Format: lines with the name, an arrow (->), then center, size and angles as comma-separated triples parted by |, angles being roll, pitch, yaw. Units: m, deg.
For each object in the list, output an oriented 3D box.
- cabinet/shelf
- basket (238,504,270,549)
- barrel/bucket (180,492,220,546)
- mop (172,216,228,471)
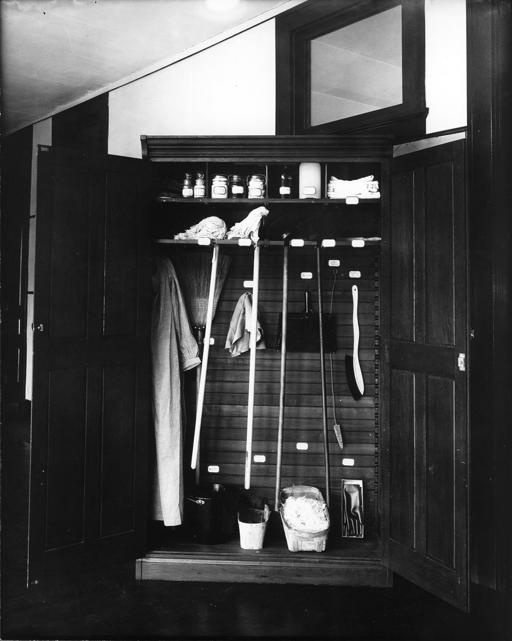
cabinet/shelf -> 0.289, 0.199, 3.886 | 1.262, 2.041, 0.765 | -1, 7, 14
basket -> -0.013, 0.936, 3.897 | 0.128, 0.196, 0.137 | 3, -12, 0
barrel/bucket -> -0.248, 0.889, 3.870 | 0.151, 0.215, 0.170 | -1, -6, 11
mop -> -0.263, 0.074, 3.926 | 0.119, 1.193, 0.263 | 4, -5, -28
